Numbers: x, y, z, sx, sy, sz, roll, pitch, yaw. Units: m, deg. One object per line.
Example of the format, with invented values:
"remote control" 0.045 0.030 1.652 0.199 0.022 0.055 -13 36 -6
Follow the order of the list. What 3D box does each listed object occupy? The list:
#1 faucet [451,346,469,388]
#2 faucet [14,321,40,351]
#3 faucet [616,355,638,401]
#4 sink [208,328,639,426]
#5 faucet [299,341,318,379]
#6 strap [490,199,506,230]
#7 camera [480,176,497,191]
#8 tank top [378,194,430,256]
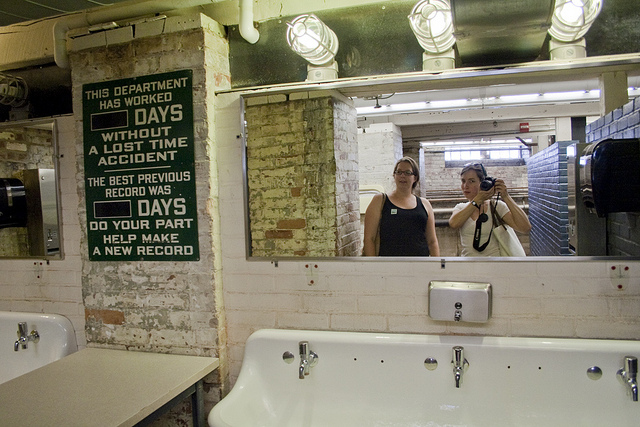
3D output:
"faucet" 0.803 0.869 2.860 0.098 0.209 0.072 -3 1 13
"faucet" -2.021 0.825 3.442 0.166 0.232 0.144 1 24 -21
"faucet" 1.664 0.880 2.710 0.102 0.188 0.087 -3 1 30
"sink" 0.628 0.943 2.844 2.298 0.494 0.277 -3 1 9
"faucet" -0.088 0.857 2.983 0.116 0.191 0.117 -5 -3 32
"strap" 1.028 0.005 2.927 0.028 0.148 0.086 -25 -10 4
"camera" 0.982 -0.176 2.930 0.077 0.051 0.082 1 0 22
"tank top" 0.523 0.059 3.132 0.328 0.407 0.238 1 -7 4
